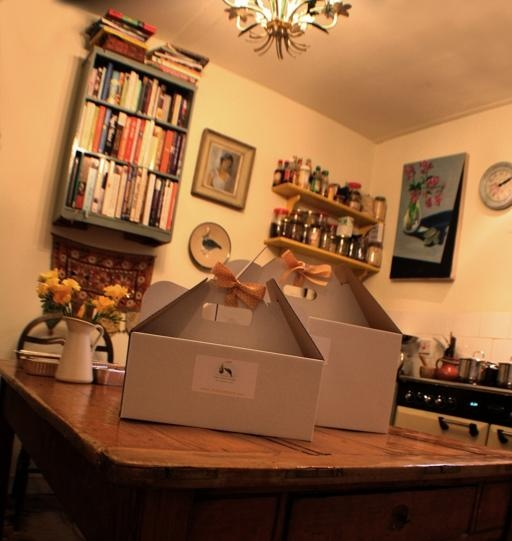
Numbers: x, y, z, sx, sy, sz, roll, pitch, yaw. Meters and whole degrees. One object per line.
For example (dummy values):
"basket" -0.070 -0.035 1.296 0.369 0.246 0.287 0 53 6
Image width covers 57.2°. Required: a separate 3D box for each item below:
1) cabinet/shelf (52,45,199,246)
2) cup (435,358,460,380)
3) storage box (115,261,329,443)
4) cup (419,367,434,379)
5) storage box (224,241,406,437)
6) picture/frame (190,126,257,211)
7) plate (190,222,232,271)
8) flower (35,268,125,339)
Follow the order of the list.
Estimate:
"cabinet/shelf" -0.782 -0.763 2.935 0.702 1.033 0.285 9 2 -28
"cup" 1.233 0.644 3.022 0.141 0.131 0.113 0 -8 36
"storage box" -0.056 0.138 0.847 0.368 0.271 0.338 7 -13 7
"cup" 1.109 0.676 3.065 0.073 0.051 0.071 5 -11 1
"storage box" 0.136 0.099 1.040 0.280 0.236 0.208 3 -9 -31
"picture/frame" -0.268 -0.760 3.506 0.600 0.630 0.071 19 -8 -33
"plate" -0.331 -0.166 3.230 0.327 0.305 0.044 20 -23 -37
"flower" -0.605 0.119 1.608 0.269 0.182 0.282 15 -1 -15
